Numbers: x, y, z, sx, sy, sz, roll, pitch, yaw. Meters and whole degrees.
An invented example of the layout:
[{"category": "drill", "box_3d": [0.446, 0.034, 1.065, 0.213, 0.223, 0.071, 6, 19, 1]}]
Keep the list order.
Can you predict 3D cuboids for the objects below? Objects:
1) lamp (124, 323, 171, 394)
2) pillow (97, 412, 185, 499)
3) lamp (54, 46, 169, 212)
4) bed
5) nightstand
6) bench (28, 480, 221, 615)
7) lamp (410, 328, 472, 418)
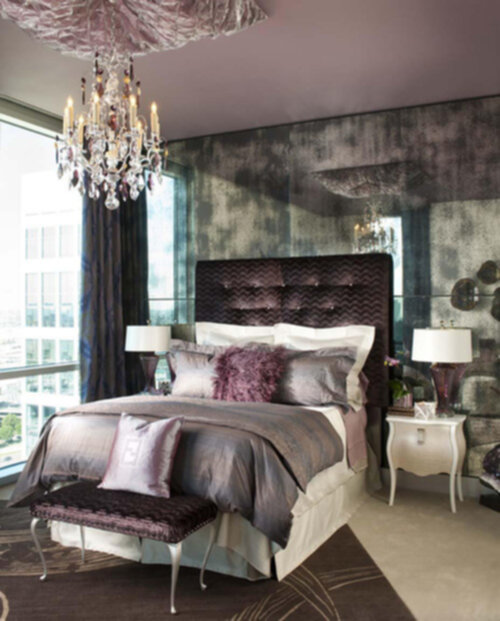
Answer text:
[{"category": "lamp", "box_3d": [-0.859, 0.434, 4.501, 0.362, 0.551, 0.353, 5, -14, -44]}, {"category": "pillow", "box_3d": [-0.501, 0.654, 2.462, 0.351, 0.339, 0.109, -5, -28, 31]}, {"category": "lamp", "box_3d": [-0.721, -0.937, 2.886, 0.468, 0.722, 0.490, -3, -3, 22]}, {"category": "bed", "box_3d": [-0.092, 0.461, 3.533, 1.746, 1.571, 2.104, 3, 5, 29]}, {"category": "nightstand", "box_3d": [1.218, 1.010, 3.721, 0.469, 0.624, 0.421, 1, 7, 24]}, {"category": "bench", "box_3d": [-0.516, 0.845, 2.252, 0.821, 0.421, 0.436, 0, 0, 31]}, {"category": "lamp", "box_3d": [1.319, 0.413, 3.577, 0.339, 0.581, 0.449, -2, -3, 39]}]
